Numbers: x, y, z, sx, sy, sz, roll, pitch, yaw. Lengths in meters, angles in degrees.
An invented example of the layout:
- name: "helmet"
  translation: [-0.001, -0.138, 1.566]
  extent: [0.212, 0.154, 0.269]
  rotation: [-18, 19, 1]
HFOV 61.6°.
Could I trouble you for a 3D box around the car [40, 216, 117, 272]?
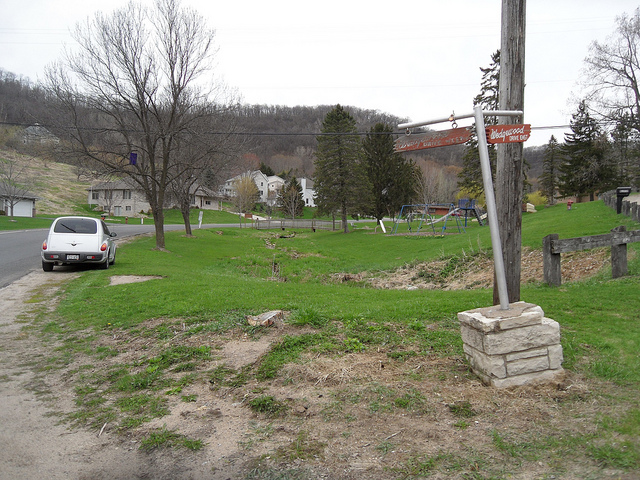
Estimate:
- name: "car"
  translation: [-8.143, 0.064, 18.397]
  extent: [1.605, 1.215, 2.719]
  rotation: [0, -4, -15]
